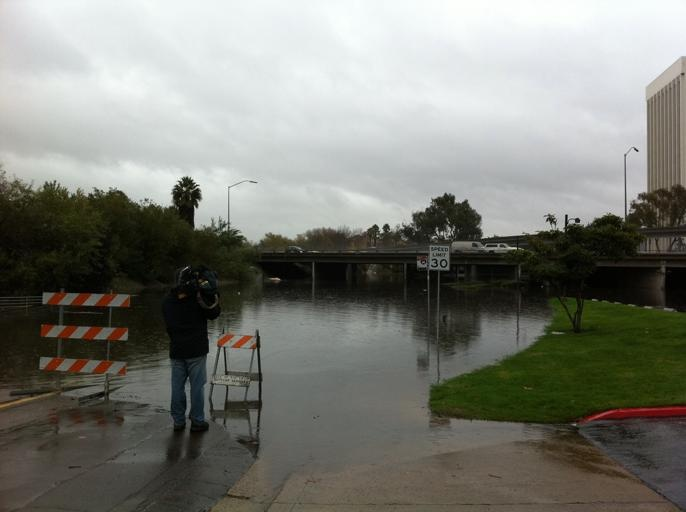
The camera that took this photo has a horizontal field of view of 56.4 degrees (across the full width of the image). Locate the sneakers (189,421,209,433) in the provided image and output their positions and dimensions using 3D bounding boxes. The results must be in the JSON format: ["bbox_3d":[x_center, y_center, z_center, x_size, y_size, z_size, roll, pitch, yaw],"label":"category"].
[{"bbox_3d":[-2.767,3.245,12.196,0.378,0.194,0.151,-2,4,-19],"label":"sneakers"}]

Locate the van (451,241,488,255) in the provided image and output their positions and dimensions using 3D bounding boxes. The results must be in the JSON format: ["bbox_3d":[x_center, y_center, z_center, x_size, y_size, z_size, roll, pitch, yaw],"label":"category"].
[{"bbox_3d":[14.778,-1.059,75.030,3.257,1.611,1.861,-2,0,27],"label":"van"}]

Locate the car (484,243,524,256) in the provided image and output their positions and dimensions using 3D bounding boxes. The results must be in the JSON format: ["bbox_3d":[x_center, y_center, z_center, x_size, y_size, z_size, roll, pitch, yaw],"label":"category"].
[{"bbox_3d":[15.433,-0.698,62.421,3.350,1.461,1.789,-1,5,10],"label":"car"}]

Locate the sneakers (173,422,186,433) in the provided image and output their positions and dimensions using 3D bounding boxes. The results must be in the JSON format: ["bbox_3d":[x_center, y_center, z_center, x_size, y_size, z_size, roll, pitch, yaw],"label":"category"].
[{"bbox_3d":[-3.131,3.245,12.150,0.226,0.135,0.205,-1,5,-14],"label":"sneakers"}]

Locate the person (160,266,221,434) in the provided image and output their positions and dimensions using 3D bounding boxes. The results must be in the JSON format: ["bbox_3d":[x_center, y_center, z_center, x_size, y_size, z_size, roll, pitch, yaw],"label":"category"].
[{"bbox_3d":[-2.951,1.777,12.370,1.032,3.080,0.870,-1,5,-11],"label":"person"}]

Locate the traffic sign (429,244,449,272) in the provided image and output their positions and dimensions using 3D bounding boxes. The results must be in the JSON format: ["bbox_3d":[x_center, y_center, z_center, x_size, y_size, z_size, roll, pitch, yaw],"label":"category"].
[{"bbox_3d":[2.791,0.059,18.562,0.571,0.766,1.763,1,5,8],"label":"traffic sign"}]
